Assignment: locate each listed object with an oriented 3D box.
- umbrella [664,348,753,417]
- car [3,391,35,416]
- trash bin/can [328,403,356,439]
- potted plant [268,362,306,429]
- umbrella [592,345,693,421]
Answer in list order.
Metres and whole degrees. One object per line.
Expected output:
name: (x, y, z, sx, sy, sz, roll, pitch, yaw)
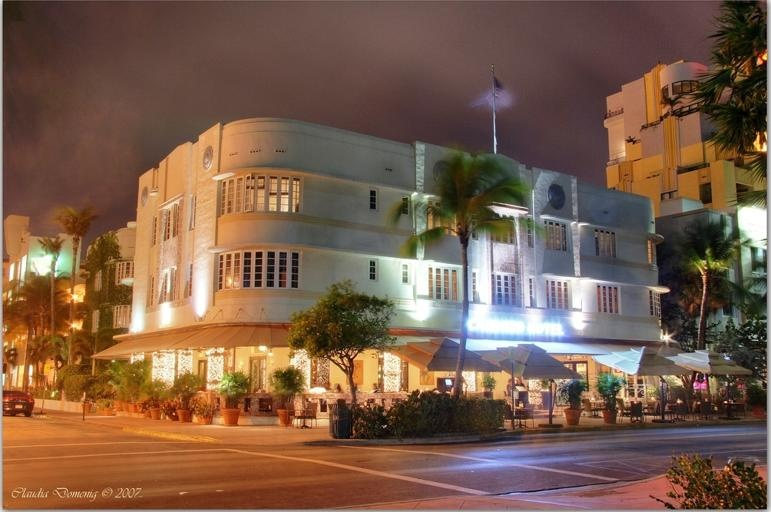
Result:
umbrella: (20.235, 6.759, 43.773, 4.523, 1.999, 4.501, 13, -9, -29)
car: (-24.594, 9.903, 47.387, 1.691, 1.659, 1.827, 9, -17, -29)
trash bin/can: (-2.018, 7.448, 32.134, 1.065, 1.695, 0.774, -2, -15, 7)
potted plant: (-5.545, 8.013, 40.355, 2.730, 3.846, 2.592, 2, -17, -5)
umbrella: (15.879, 7.649, 43.228, 4.052, 3.828, 3.990, -3, -9, -24)
